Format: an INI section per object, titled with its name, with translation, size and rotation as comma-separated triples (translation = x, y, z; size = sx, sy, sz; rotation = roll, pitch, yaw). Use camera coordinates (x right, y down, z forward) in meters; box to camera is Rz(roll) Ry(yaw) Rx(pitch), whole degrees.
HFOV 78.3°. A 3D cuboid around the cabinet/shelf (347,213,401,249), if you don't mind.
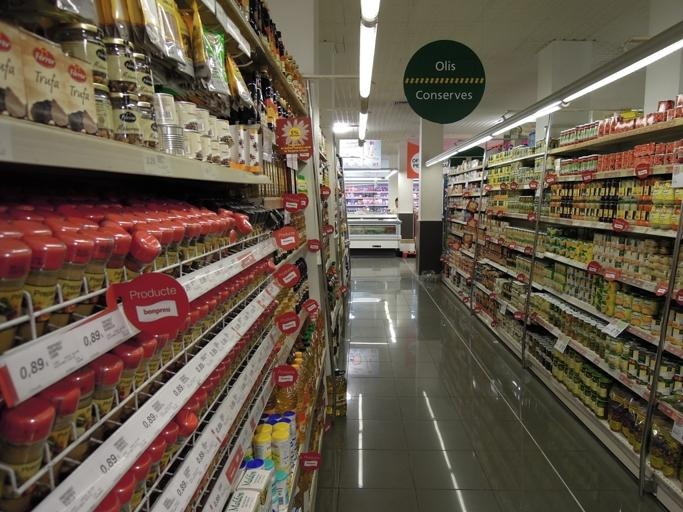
[cabinet/shelf]
translation = 1.066, -0.737, 14.292
size = 1.840, 1.181, 1.386
rotation = -2, 0, 6
